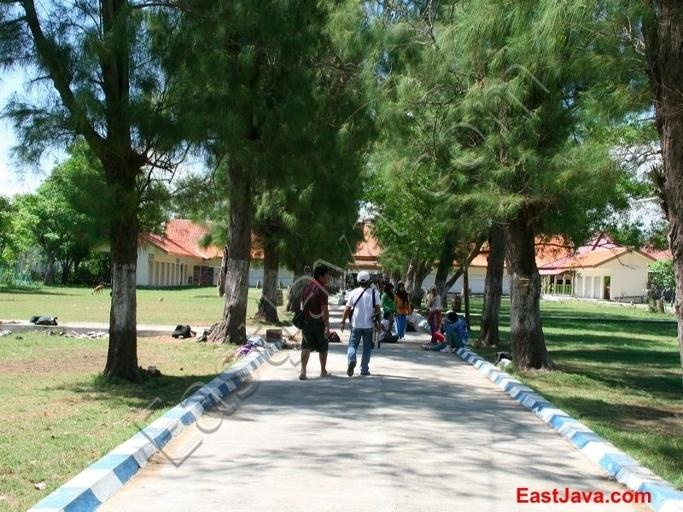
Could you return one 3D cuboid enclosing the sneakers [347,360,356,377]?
[{"bbox_3d":[0.212,2.340,12.497,0.148,0.327,0.285,1,-3,-1],"label":"sneakers"}]

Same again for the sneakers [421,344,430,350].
[{"bbox_3d":[2.552,2.740,18.046,0.240,0.160,0.446,0,-4,8],"label":"sneakers"}]

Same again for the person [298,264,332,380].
[{"bbox_3d":[-0.539,1.317,12.344,0.608,2.352,1.350,1,-3,-3],"label":"person"}]

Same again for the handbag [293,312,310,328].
[{"bbox_3d":[-0.849,1.256,11.923,0.245,0.349,0.338,2,-3,-17],"label":"handbag"}]
